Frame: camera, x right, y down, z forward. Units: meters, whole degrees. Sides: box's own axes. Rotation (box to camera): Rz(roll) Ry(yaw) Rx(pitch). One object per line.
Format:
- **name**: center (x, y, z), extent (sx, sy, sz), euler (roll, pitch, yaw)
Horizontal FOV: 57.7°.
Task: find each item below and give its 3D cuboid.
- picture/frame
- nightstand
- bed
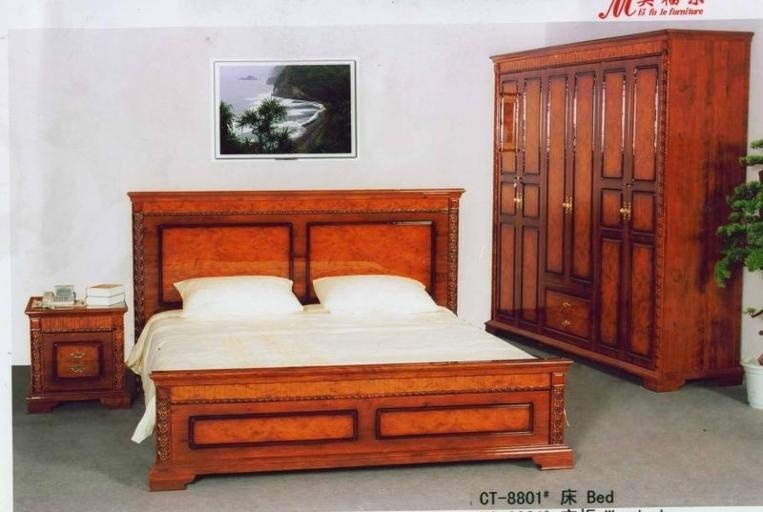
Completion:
- **picture/frame**: center (-0.887, -1.266, 5.892), extent (1.015, 0.626, 0.023), euler (0, 4, -6)
- **nightstand**: center (-2.199, 0.690, 5.246), extent (0.773, 0.656, 0.555), euler (-1, 0, -10)
- **bed**: center (-0.412, 0.677, 5.119), extent (2.543, 1.501, 2.370), euler (0, 2, -9)
